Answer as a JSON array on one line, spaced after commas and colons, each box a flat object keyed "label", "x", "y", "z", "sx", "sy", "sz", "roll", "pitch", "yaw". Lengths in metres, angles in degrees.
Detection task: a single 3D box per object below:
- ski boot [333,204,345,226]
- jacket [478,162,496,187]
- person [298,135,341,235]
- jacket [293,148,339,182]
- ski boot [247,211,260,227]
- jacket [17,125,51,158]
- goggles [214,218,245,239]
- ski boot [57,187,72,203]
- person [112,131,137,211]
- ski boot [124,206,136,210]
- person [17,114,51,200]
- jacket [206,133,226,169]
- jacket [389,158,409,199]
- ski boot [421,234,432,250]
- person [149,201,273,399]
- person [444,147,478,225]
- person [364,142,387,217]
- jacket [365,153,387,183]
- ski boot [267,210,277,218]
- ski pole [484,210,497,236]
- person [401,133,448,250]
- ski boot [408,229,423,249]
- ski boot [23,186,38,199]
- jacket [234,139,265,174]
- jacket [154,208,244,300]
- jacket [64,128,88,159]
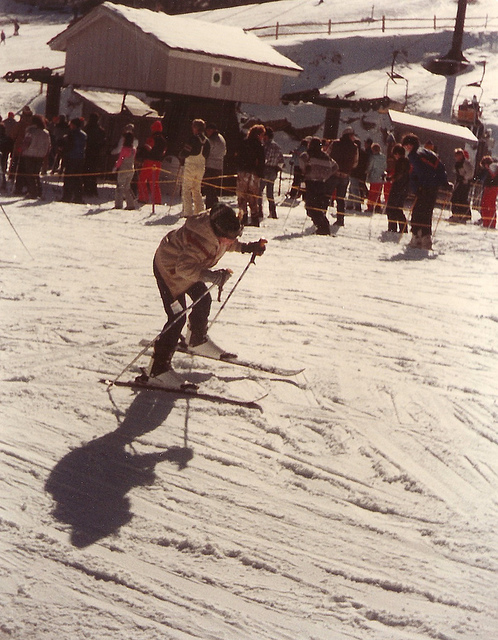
[{"label": "ski boot", "x": 1.312, "y": -1.532, "z": 16.084, "sx": 0.147, "sy": 0.283, "sz": 0.498, "roll": 5, "pitch": 14, "yaw": 4}, {"label": "jacket", "x": 3.565, "y": -2.198, "z": 16.628, "sx": 0.211, "sy": 0.322, "sz": 0.347, "roll": -36, "pitch": 37, "yaw": -29}, {"label": "person", "x": 0.896, "y": -1.809, "z": 14.915, "sx": 0.576, "sy": 1.265, "sz": 0.422, "roll": 0, "pitch": 14, "yaw": -16}, {"label": "jacket", "x": 0.914, "y": -2.082, "z": 14.850, "sx": 0.541, "sy": 0.441, "sz": 0.342, "roll": 2, "pitch": 14, "yaw": -7}, {"label": "ski boot", "x": 0.073, "y": -1.398, "z": 15.235, "sx": 0.167, "sy": 0.205, "sz": 0.460, "roll": 5, "pitch": 14, "yaw": 1}, {"label": "jacket", "x": -3.114, "y": -2.583, "z": 15.953, "sx": 0.586, "sy": 0.584, "sz": 0.347, "roll": 5, "pitch": 14, "yaw": -10}, {"label": "goggles", "x": -0.146, "y": -0.626, "z": 7.534, "sx": 0.125, "sy": 0.063, "sz": 0.152, "roll": 6, "pitch": 14, "yaw": -34}, {"label": "ski boot", "x": -2.691, "y": -1.845, "z": 16.248, "sx": 0.244, "sy": 0.246, "sz": 0.223, "roll": 3, "pitch": 13, "yaw": 4}, {"label": "person", "x": -1.722, "y": -2.082, "z": 15.498, "sx": 0.332, "sy": 1.166, "sz": 1.349, "roll": 3, "pitch": 14, "yaw": -6}, {"label": "ski boot", "x": -1.703, "y": -1.622, "z": 15.867, "sx": 0.152, "sy": 0.051, "sz": 0.173, "roll": 3, "pitch": 14, "yaw": -6}, {"label": "person", "x": -3.118, "y": -2.389, "z": 16.143, "sx": 0.405, "sy": 1.268, "sz": 1.159, "roll": 1, "pitch": 14, "yaw": -12}, {"label": "jacket", "x": -0.443, "y": -2.237, "z": 14.729, "sx": 0.227, "sy": 0.488, "sz": 0.569, "roll": 4, "pitch": 14, "yaw": -2}, {"label": "jacket", "x": 2.083, "y": -1.948, "z": 15.289, "sx": 0.246, "sy": 0.611, "sz": 0.439, "roll": 6, "pitch": 14, "yaw": 7}, {"label": "ski boot", "x": 2.266, "y": -1.002, "z": 14.132, "sx": 0.133, "sy": 0.207, "sz": 0.081, "roll": 5, "pitch": 14, "yaw": 5}, {"label": "person", "x": -0.294, "y": -0.103, "z": 8.918, "sx": 0.918, "sy": 1.756, "sz": 0.807, "roll": 18, "pitch": 58, "yaw": 3}, {"label": "person", "x": 3.454, "y": -2.145, "z": 17.896, "sx": 0.457, "sy": 1.368, "sz": 2.592, "roll": 7, "pitch": 14, "yaw": 11}, {"label": "person", "x": 2.052, "y": -2.263, "z": 17.949, "sx": 0.346, "sy": 1.174, "sz": 1.182, "roll": 6, "pitch": 14, "yaw": 6}, {"label": "jacket", "x": 2.032, "y": -2.428, "z": 17.719, "sx": 0.301, "sy": 0.501, "sz": 0.395, "roll": 6, "pitch": 14, "yaw": 5}, {"label": "ski boot", "x": 0.344, "y": -1.585, "z": 16.361, "sx": 0.140, "sy": 0.135, "sz": 0.317, "roll": 4, "pitch": 14, "yaw": 0}, {"label": "ski pole", "x": 3.726, "y": -1.512, "z": 17.114, "sx": 0.020, "sy": 0.488, "sz": 0.087, "roll": 25, "pitch": 10, "yaw": 4}, {"label": "person", "x": 2.142, "y": -1.565, "z": 13.835, "sx": 0.589, "sy": 1.470, "sz": 1.028, "roll": 6, "pitch": 14, "yaw": 6}, {"label": "ski boot", "x": 2.155, "y": -1.044, "z": 14.205, "sx": 0.151, "sy": 0.253, "sz": 0.209, "roll": 0, "pitch": 39, "yaw": 3}, {"label": "ski boot", "x": -3.238, "y": -1.918, "z": 16.383, "sx": 0.196, "sy": 0.219, "sz": 0.639, "roll": 0, "pitch": 14, "yaw": -16}, {"label": "jacket", "x": 0.022, "y": -2.170, "z": 14.651, "sx": 0.373, "sy": 0.459, "sz": 0.353, "roll": 4, "pitch": 14, "yaw": 0}, {"label": "jacket", "x": -0.391, "y": -0.462, "z": 7.716, "sx": 0.526, "sy": 0.640, "sz": 0.461, "roll": 3, "pitch": 14, "yaw": -5}, {"label": "jacket", "x": -2.448, "y": -2.481, "z": 15.626, "sx": 0.241, "sy": 0.416, "sz": 0.393, "roll": 31, "pitch": 34, "yaw": 28}]
